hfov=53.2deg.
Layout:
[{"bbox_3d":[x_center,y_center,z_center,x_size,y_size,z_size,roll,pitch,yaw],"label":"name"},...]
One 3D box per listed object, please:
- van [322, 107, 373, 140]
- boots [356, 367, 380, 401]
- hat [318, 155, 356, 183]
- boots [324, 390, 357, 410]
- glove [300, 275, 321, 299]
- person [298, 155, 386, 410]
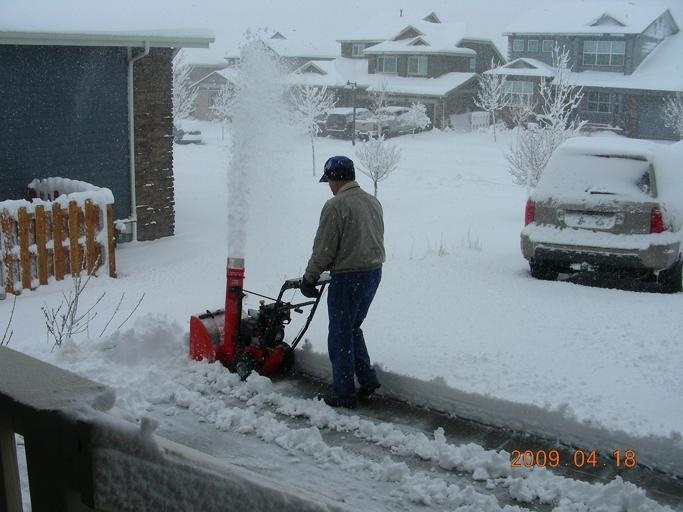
[{"bbox_3d":[-0.068,-7.249,37.586,1.344,1.397,2.778,8,29,26],"label":"van"},{"bbox_3d":[0.246,1.205,6.394,0.116,0.312,0.383,3,-10,-13],"label":"boots"},{"bbox_3d":[-0.076,-0.783,6.291,0.200,0.191,0.309,-13,21,-24],"label":"hat"},{"bbox_3d":[-0.023,1.311,6.252,0.262,0.142,0.138,10,11,11],"label":"boots"},{"bbox_3d":[-0.279,0.283,6.143,0.171,0.196,0.134,3,6,33],"label":"glove"},{"bbox_3d":[0.003,0.235,6.215,0.791,2.225,0.469,-3,10,-13],"label":"person"}]
